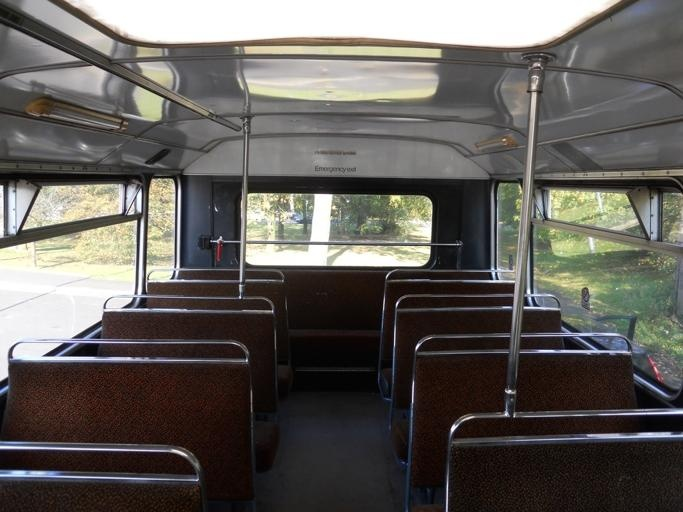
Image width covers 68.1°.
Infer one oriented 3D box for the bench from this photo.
[{"bbox_3d":[-0.057,0.973,3.010,3.464,0.913,1.323,4,12,15],"label":"bench"}]
